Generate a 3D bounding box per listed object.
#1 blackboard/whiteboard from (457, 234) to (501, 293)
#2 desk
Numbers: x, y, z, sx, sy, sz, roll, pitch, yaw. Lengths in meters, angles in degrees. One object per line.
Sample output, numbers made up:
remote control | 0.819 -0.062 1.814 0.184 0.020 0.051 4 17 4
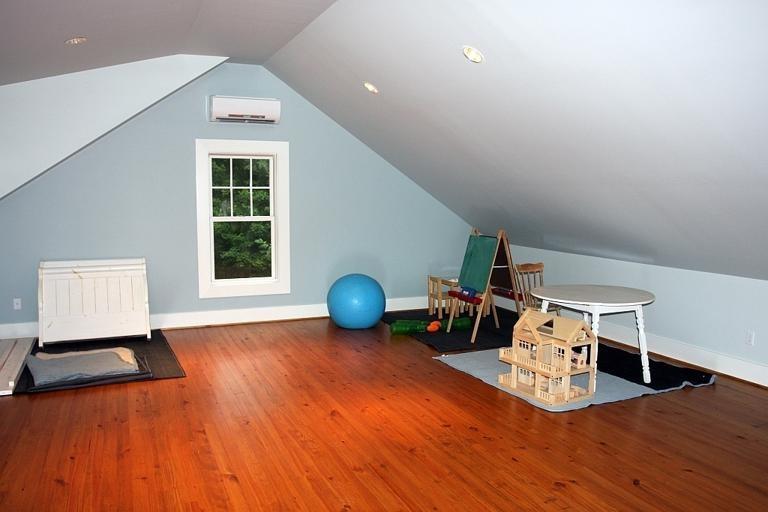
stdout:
blackboard/whiteboard | 1.302 0.082 6.414 0.534 0.838 0.633 -2 6 -21
desk | 2.362 0.826 5.098 0.903 0.647 0.870 -2 -6 -34
